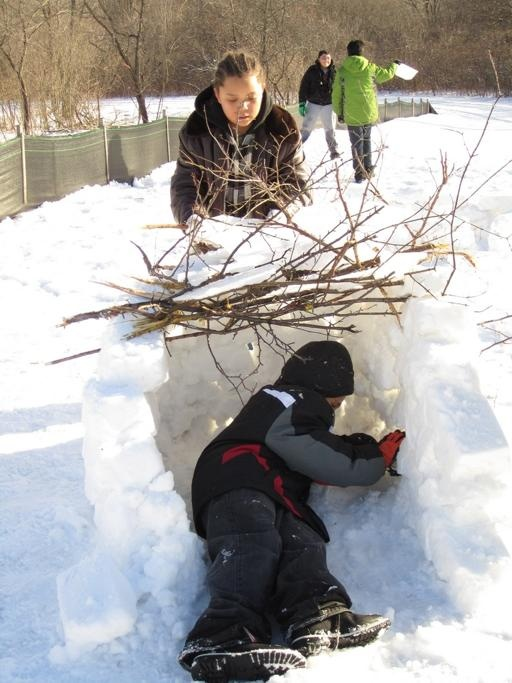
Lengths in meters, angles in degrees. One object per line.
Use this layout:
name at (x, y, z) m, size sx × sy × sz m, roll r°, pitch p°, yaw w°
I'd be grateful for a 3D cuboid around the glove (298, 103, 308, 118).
glove at (0.601, -3.043, 8.555) m, size 0.122 × 0.050 × 0.152 m, roll -4°, pitch -22°, yaw -9°

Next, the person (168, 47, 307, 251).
person at (-0.114, -0.910, 2.973) m, size 0.686 × 0.758 × 0.651 m, roll -1°, pitch 22°, yaw 6°
